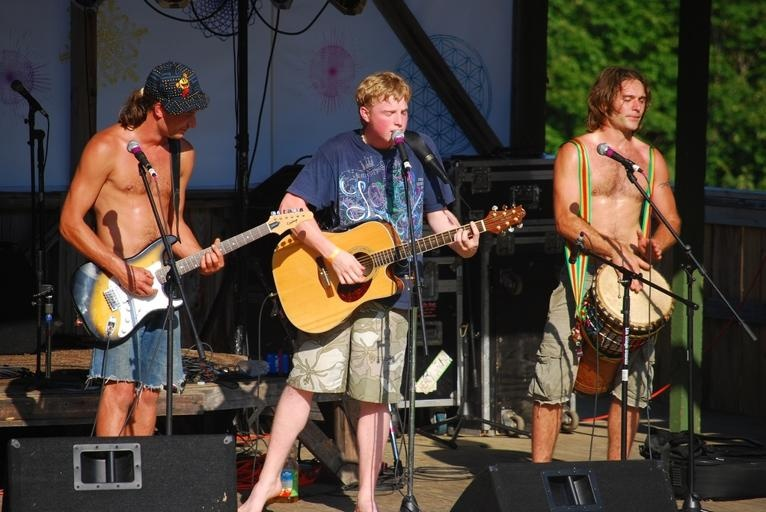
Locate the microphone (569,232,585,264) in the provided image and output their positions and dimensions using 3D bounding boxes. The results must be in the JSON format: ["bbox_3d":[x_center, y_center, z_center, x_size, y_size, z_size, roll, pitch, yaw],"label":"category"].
[{"bbox_3d":[1.657,-0.056,10.951,0.065,0.219,0.172,9,20,-38],"label":"microphone"}]

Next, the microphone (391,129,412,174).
[{"bbox_3d":[0.149,-0.858,10.604,0.117,0.410,0.122,-13,-35,-4],"label":"microphone"}]

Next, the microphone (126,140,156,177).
[{"bbox_3d":[-2.016,-0.801,10.753,0.100,0.333,0.088,-47,-9,36],"label":"microphone"}]

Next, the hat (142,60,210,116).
[{"bbox_3d":[-1.742,-1.407,10.867,0.489,0.294,0.389,26,43,14],"label":"hat"}]

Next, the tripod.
[{"bbox_3d":[0.983,0.887,13.063,1.009,2.621,0.832,3,-4,0],"label":"tripod"}]
